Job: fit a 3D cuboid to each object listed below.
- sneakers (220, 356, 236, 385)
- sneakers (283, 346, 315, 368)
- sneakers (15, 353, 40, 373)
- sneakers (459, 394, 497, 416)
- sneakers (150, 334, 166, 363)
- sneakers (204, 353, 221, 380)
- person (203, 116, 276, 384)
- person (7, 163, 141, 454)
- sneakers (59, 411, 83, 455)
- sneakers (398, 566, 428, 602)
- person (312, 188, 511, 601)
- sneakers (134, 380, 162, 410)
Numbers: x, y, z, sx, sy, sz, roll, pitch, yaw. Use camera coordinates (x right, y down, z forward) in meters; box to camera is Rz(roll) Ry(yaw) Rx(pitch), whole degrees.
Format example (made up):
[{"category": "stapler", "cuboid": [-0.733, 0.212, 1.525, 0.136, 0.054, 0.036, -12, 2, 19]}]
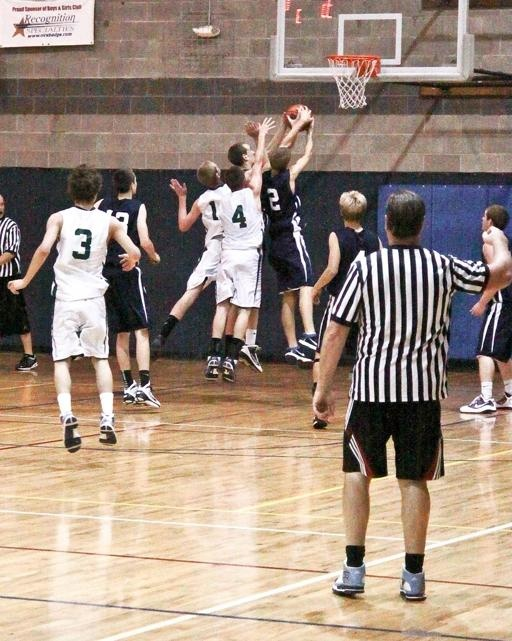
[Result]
[{"category": "sneakers", "cuboid": [-0.228, 0.404, 7.196, 0.083, 0.222, 0.104, 0, 49, 13]}, {"category": "sneakers", "cuboid": [0.335, 0.283, 7.074, 0.093, 0.131, 0.279, -5, -21, 41]}, {"category": "sneakers", "cuboid": [-2.497, 0.472, 10.124, 0.122, 0.157, 0.342, -2, -5, 18]}, {"category": "sneakers", "cuboid": [1.751, 0.669, 7.298, 0.372, 0.185, 0.130, -3, -11, 23]}, {"category": "sneakers", "cuboid": [-1.251, 0.352, 11.657, 0.225, 0.417, 0.106, 8, -1, 31]}, {"category": "sneakers", "cuboid": [-0.349, 0.389, 7.334, 0.120, 0.245, 0.325, 0, 12, -2]}, {"category": "person", "cuboid": [-0.171, -0.478, 7.406, 0.431, 1.925, 0.948, 1, 11, 1]}, {"category": "person", "cuboid": [-1.013, -0.011, 5.192, 0.702, 1.708, 1.066, -1, 11, -8]}, {"category": "sneakers", "cuboid": [-0.983, 0.606, 4.831, 0.082, 0.253, 0.107, 1, 38, -9]}, {"category": "sneakers", "cuboid": [0.446, 0.764, 2.597, 0.040, 0.054, 0.113, 0, 2, 4]}, {"category": "person", "cuboid": [0.434, 0.215, 2.671, 0.529, 1.158, 0.374, 1, 11, 3]}, {"category": "sneakers", "cuboid": [-0.831, 0.601, 7.140, 0.100, 0.203, 0.288, -3, -14, 31]}]
